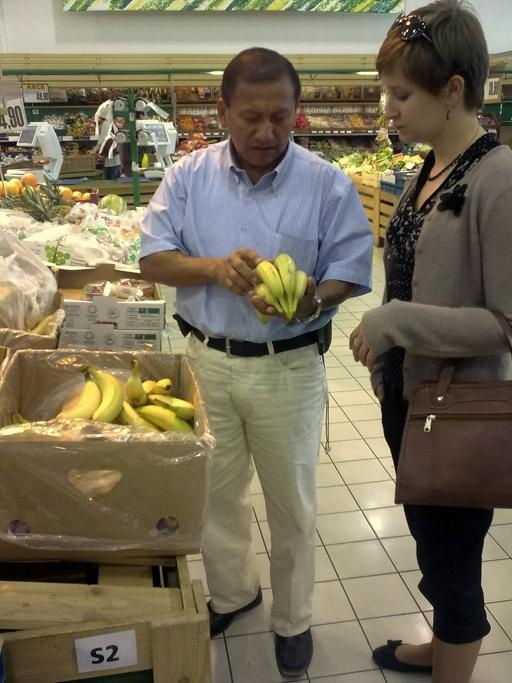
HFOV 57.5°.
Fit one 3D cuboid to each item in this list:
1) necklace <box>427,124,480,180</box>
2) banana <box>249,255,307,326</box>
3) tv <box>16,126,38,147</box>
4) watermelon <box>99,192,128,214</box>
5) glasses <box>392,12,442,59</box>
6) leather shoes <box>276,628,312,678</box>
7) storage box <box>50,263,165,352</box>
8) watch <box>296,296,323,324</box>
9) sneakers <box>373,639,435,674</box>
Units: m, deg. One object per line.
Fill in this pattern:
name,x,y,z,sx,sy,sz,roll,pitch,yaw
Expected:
necklace,0.463,-0.433,1.104,0.030,0.121,0.092,50,40,10
banana,0.062,-0.142,1.088,0.131,0.135,0.076,-48,7,-37
tv,-2.394,-2.172,4.905,0.213,0.214,0.341,-11,20,-21
watermelon,-1.091,-1.036,3.537,0.187,0.136,0.338,-9,20,-15
glasses,0.354,-0.631,1.006,0.039,0.106,0.084,-50,43,0
leather shoes,0.135,1.080,1.602,0.070,0.066,0.178,-4,5,-1
storage box,-0.555,-0.127,1.787,0.441,0.194,0.451,0,35,-9
watch,0.143,-0.077,1.236,0.026,0.071,0.064,21,36,-11
sneakers,0.517,1.086,1.606,0.171,0.043,0.078,4,26,9
